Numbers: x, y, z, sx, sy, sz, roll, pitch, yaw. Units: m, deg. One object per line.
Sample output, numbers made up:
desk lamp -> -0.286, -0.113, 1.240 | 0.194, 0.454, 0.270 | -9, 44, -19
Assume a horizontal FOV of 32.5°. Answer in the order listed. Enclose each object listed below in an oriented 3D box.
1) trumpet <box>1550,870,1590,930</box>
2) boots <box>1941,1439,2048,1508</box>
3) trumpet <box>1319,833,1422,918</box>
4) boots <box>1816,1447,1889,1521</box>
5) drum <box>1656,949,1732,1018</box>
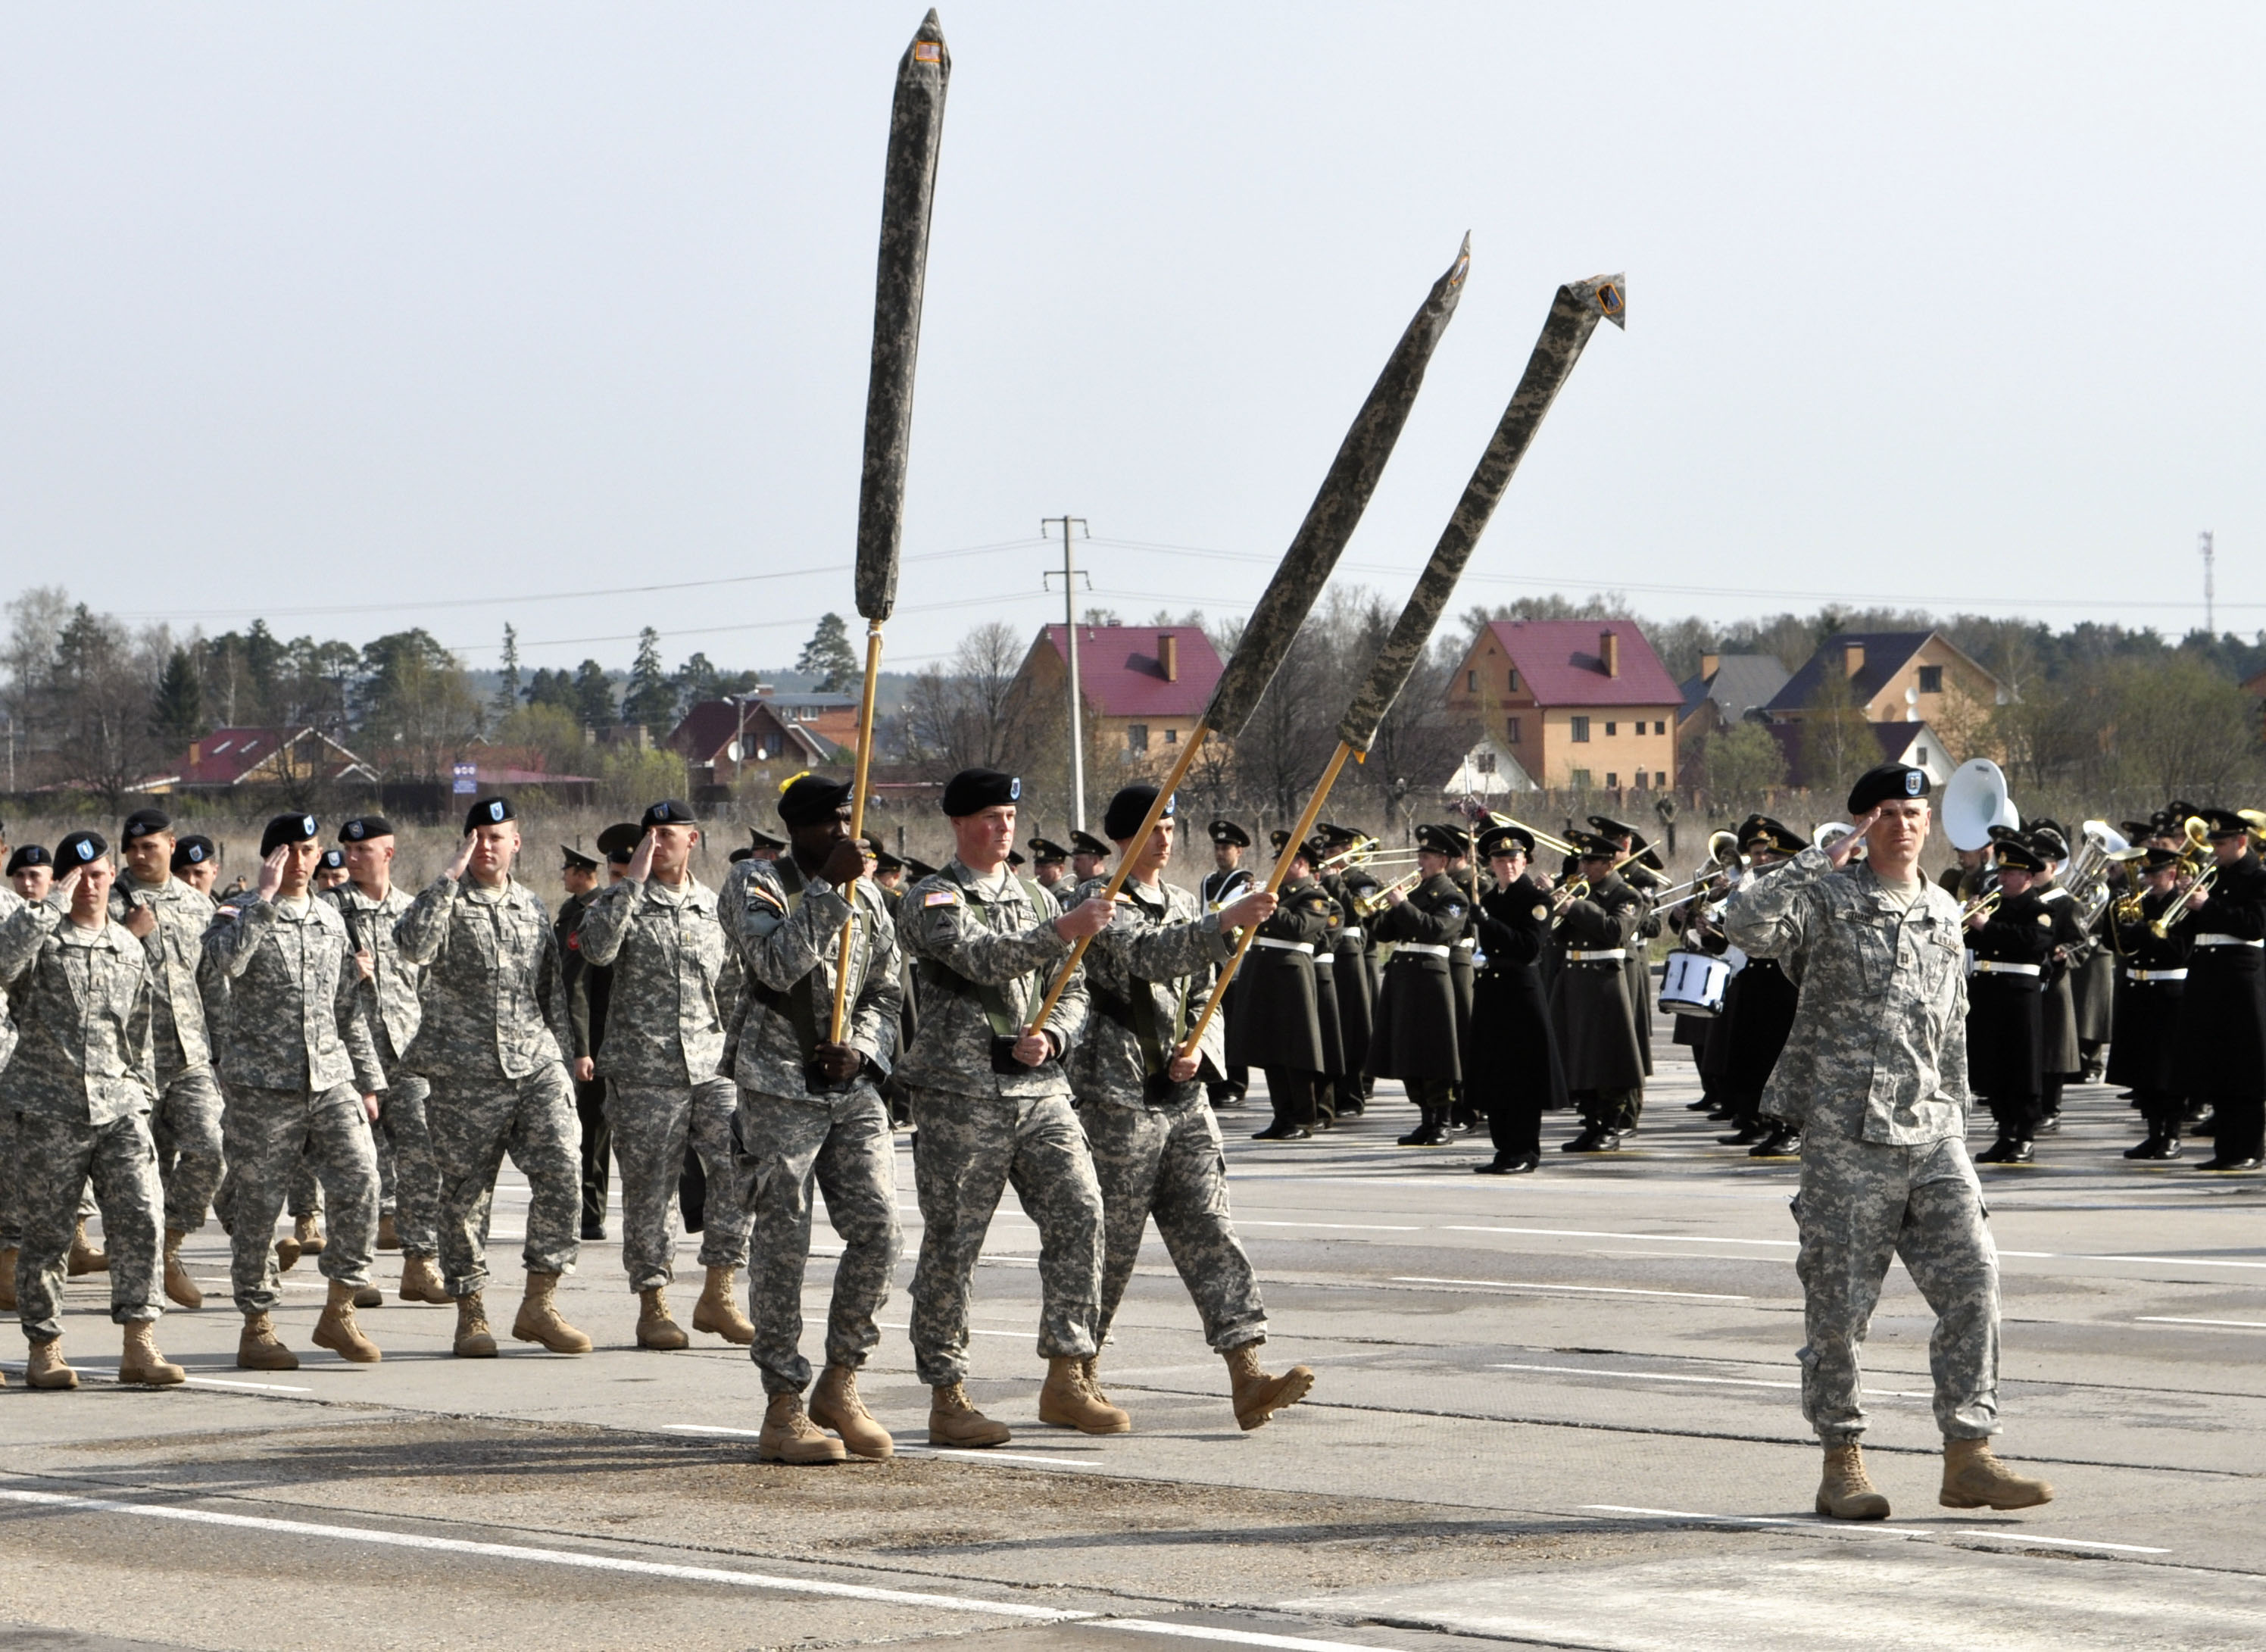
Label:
trumpet -> 2.874, 0.429, 25.279 | 0.301, 0.369, 0.091 | 9, -30, 36
boots -> 2.952, 2.186, 13.255 | 0.365, 0.241, 0.294 | 0, -2, 11
trumpet -> 1.668, 0.329, 28.894 | 1.161, 0.351, 0.404 | -3, -8, -42
boots -> 2.448, 2.199, 13.181 | 0.239, 0.244, 0.152 | 0, -2, 8
drum -> 3.173, 0.856, 21.781 | 0.408, 0.254, 0.383 | 4, -11, 1
